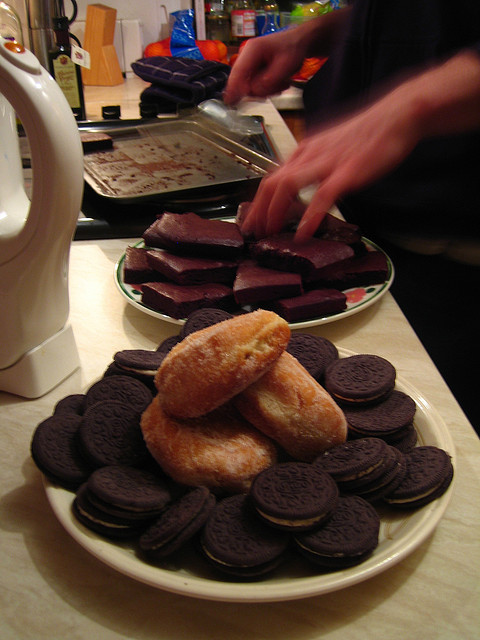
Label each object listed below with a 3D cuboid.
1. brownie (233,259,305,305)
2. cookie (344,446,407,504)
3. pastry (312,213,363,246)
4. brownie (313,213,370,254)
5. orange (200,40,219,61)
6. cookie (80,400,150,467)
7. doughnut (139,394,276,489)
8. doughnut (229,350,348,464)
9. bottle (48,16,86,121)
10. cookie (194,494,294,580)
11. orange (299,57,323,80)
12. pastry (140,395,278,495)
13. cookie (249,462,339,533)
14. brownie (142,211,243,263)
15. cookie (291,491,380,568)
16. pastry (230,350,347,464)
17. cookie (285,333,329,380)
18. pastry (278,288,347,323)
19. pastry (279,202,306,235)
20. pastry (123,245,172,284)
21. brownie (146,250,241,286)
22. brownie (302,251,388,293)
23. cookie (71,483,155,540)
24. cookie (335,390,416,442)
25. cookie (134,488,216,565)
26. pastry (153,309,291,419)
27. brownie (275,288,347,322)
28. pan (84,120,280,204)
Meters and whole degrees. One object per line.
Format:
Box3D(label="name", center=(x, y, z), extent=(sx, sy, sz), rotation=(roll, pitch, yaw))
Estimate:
Box3D(label="brownie", center=(0.032, -0.051, 0.740), extent=(0.070, 0.015, 0.060), rotation=(-2, 30, -8))
Box3D(label="cookie", center=(0.108, 0.119, 0.454), extent=(0.044, 0.010, 0.044), rotation=(-29, 17, -33))
Box3D(label="pastry", center=(0.140, -0.129, 0.863), extent=(0.072, 0.019, 0.055), rotation=(22, 43, 14))
Box3D(label="brownie", center=(0.143, -0.128, 0.858), extent=(0.078, 0.021, 0.062), rotation=(26, 36, 13))
Box3D(label="orange", center=(-0.135, -1.173, 2.462), extent=(0.055, 0.072, 0.102), rotation=(18, 33, 25))
Box3D(label="cookie", center=(-0.106, 0.092, 0.466), extent=(0.014, 0.048, 0.055), rotation=(11, -5, 31))
Box3D(label="doughnut", center=(-0.029, 0.095, 0.482), extent=(0.116, 0.039, 0.126), rotation=(-6, 21, -24))
Box3D(label="doughnut", center=(0.049, 0.071, 0.499), extent=(0.076, 0.044, 0.135), rotation=(-30, 33, -7))
Box3D(label="bottle", center=(-0.466, -0.671, 1.529), extent=(0.074, 0.262, 0.142), rotation=(-6, 32, -13))
Box3D(label="cookie", center=(0.001, 0.149, 0.395), extent=(0.053, 0.042, 0.059), rotation=(-23, 38, -37))
Box3D(label="orange", center=(0.257, -0.925, 2.081), extent=(0.077, 0.081, 0.226), rotation=(5, 28, 5))
Box3D(label="pastry", center=(-0.033, 0.102, 0.463), extent=(0.097, 0.028, 0.075), rotation=(25, 30, 16))
Box3D(label="cookie", center=(0.038, 0.124, 0.409), extent=(0.062, 0.016, 0.059), rotation=(-19, 32, -38))
Box3D(label="brownie", center=(-0.063, -0.123, 0.816), extent=(0.113, 0.025, 0.099), rotation=(9, 24, -2))
Box3D(label="cookie", center=(0.074, 0.150, 0.401), extent=(0.045, 0.018, 0.061), rotation=(26, 35, 37))
Box3D(label="pastry", center=(0.049, 0.073, 0.502), extent=(0.078, 0.044, 0.141), rotation=(-25, 29, -15))
Box3D(label="cookie", center=(0.066, 0.039, 0.563), extent=(0.047, 0.010, 0.043), rotation=(-15, 34, -29))
Box3D(label="pastry", center=(0.087, -0.020, 0.714), extent=(0.087, 0.026, 0.041), rotation=(-11, 31, -23))
Box3D(label="pastry", center=(0.083, -0.160, 0.887), extent=(0.061, 0.048, 0.014), rotation=(2, -5, -39))
Box3D(label="pastry", center=(-0.132, -0.078, 0.789), extent=(0.062, 0.016, 0.056), rotation=(-6, 38, -37))
Box3D(label="brownie", center=(-0.063, -0.084, 0.777), extent=(0.082, 0.017, 0.077), rotation=(-8, 20, -33))
Box3D(label="brownie", center=(0.157, -0.082, 0.794), extent=(0.080, 0.018, 0.070), rotation=(-9, 26, 0))
Box3D(label="cookie", center=(-0.090, 0.141, 0.414), extent=(0.067, 0.061, 0.016), rotation=(-4, 47, 26))
Box3D(label="cookie", center=(0.122, 0.082, 0.492), extent=(0.047, 0.010, 0.042), rotation=(-10, 20, -19))
Box3D(label="cookie", center=(-0.042, 0.142, 0.392), extent=(0.052, 0.014, 0.049), rotation=(-27, 17, 50))
Box3D(label="pastry", center=(-0.005, 0.040, 0.501), extent=(0.117, 0.035, 0.063), rotation=(-29, 60, -13))
Box3D(label="brownie", center=(0.083, -0.024, 0.707), extent=(0.070, 0.015, 0.045), rotation=(-10, 18, -20))
Box3D(label="pan", center=(-0.201, -0.394, 1.380), extent=(0.551, 0.043, 0.522), rotation=(0, 0, -6))
